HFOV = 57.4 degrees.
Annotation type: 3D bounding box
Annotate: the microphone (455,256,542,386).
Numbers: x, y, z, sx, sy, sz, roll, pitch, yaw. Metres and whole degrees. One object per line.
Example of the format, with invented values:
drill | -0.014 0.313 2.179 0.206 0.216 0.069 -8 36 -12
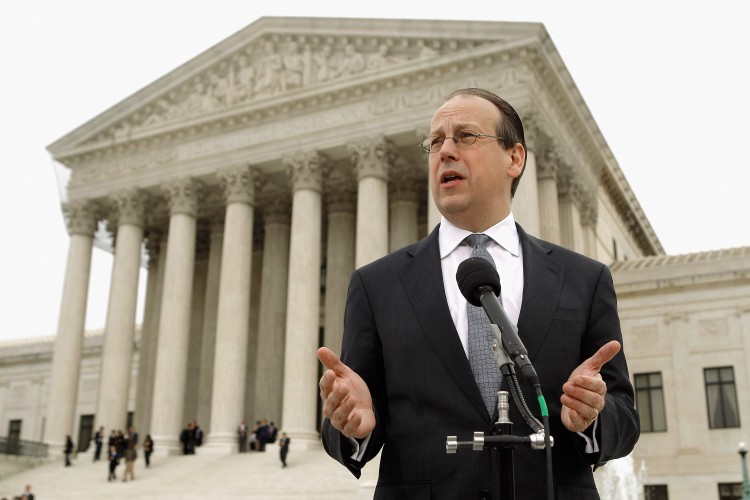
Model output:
microphone | 0.642 0.329 3.763 0.263 0.896 0.237 -23 -41 -1
